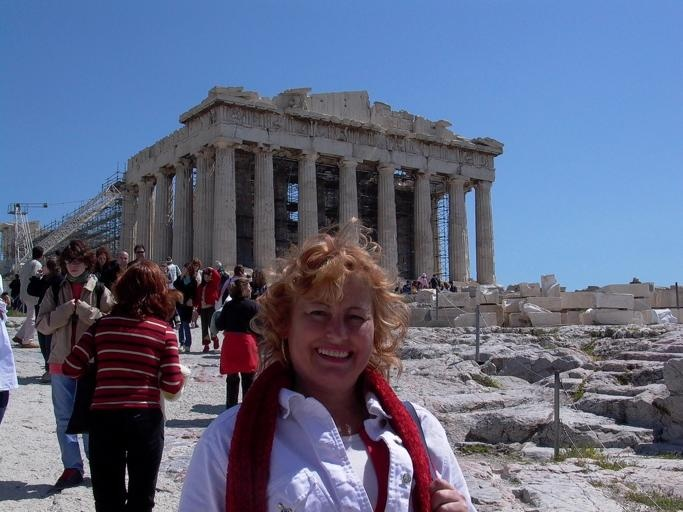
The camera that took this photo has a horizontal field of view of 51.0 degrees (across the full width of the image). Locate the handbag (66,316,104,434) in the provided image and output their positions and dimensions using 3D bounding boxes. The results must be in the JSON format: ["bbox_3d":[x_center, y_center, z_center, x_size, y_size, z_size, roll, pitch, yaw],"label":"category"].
[{"bbox_3d":[-2.237,1.160,6.215,0.186,0.935,0.383,8,0,-20],"label":"handbag"}]

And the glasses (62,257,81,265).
[{"bbox_3d":[-2.804,0.045,7.385,0.222,0.061,0.069,10,1,31],"label":"glasses"}]

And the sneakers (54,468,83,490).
[{"bbox_3d":[-2.675,2.202,7.034,0.251,0.173,0.134,4,-10,-19],"label":"sneakers"}]
